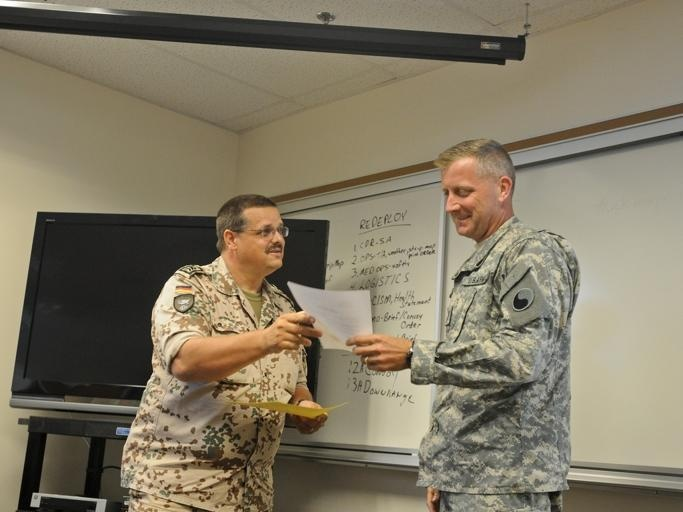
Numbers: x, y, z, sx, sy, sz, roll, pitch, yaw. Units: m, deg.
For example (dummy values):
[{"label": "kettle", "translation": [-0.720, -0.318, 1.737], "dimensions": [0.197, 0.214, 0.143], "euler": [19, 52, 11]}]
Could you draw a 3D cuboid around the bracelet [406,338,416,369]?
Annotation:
[{"label": "bracelet", "translation": [0.229, 0.324, 2.159], "dimensions": [0.028, 0.092, 0.074], "euler": [1, -13, 6]}]

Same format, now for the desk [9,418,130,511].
[{"label": "desk", "translation": [-1.383, 1.079, 3.407], "dimensions": [0.603, 0.468, 0.314], "euler": [2, -13, -1]}]

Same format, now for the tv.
[{"label": "tv", "translation": [-0.818, 0.279, 3.106], "dimensions": [1.326, 0.754, 0.093], "euler": [2, -16, 7]}]
